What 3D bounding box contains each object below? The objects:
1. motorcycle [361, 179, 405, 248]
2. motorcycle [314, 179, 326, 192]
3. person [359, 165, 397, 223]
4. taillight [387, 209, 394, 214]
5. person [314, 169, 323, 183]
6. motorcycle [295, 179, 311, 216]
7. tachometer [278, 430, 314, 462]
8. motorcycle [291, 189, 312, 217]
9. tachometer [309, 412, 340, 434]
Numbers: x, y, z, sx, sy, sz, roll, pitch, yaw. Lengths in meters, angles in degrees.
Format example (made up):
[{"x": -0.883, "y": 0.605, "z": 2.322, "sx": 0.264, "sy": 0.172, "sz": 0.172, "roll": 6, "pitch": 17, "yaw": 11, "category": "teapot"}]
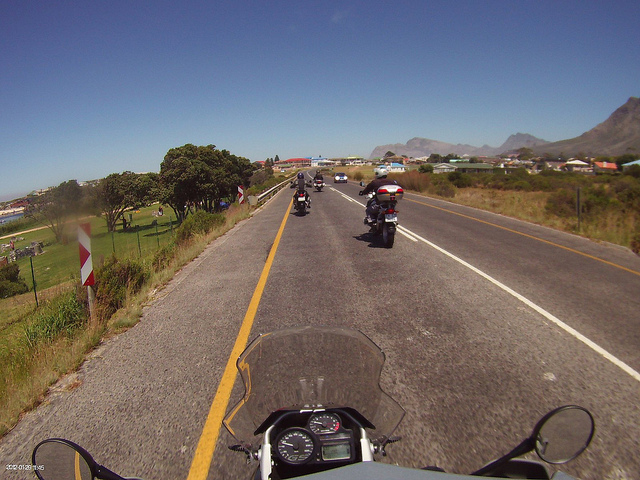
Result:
[{"x": 1.899, "y": -0.817, "z": 12.082, "sx": 0.886, "sy": 1.304, "sz": 1.920, "roll": 2, "pitch": 15, "yaw": -2, "category": "motorcycle"}, {"x": 0.068, "y": -5.035, "z": 36.835, "sx": 0.897, "sy": 1.081, "sz": 1.762, "roll": 1, "pitch": 8, "yaw": -2, "category": "motorcycle"}, {"x": 1.753, "y": -1.237, "z": 13.031, "sx": 0.856, "sy": 1.278, "sz": 2.051, "roll": 20, "pitch": 9, "yaw": 17, "category": "person"}, {"x": 2.042, "y": -0.813, "z": 11.473, "sx": 0.197, "sy": 0.117, "sz": 0.122, "roll": -6, "pitch": 13, "yaw": -9, "category": "taillight"}, {"x": -0.132, "y": -6.098, "z": 36.871, "sx": 1.091, "sy": 1.300, "sz": 2.124, "roll": 0, "pitch": 2, "yaw": -2, "category": "person"}, {"x": -0.912, "y": -2.136, "z": 20.200, "sx": 0.675, "sy": 0.997, "sz": 1.709, "roll": -2, "pitch": 21, "yaw": -1, "category": "motorcycle"}, {"x": -0.199, "y": 1.713, "z": 3.314, "sx": 0.298, "sy": 0.139, "sz": 0.178, "roll": -4, "pitch": 13, "yaw": -1, "category": "tachometer"}, {"x": -0.901, "y": -1.889, "z": 20.118, "sx": 0.761, "sy": 1.334, "sz": 2.399, "roll": -3, "pitch": 13, "yaw": 1, "category": "motorcycle"}, {"x": 0.043, "y": 1.606, "z": 3.481, "sx": 0.169, "sy": 0.035, "sz": 0.177, "roll": 1, "pitch": 30, "yaw": 0, "category": "tachometer"}]
